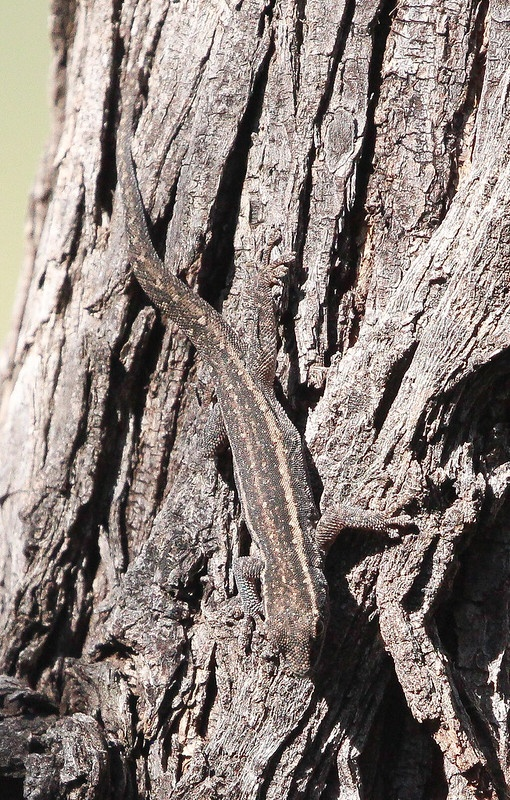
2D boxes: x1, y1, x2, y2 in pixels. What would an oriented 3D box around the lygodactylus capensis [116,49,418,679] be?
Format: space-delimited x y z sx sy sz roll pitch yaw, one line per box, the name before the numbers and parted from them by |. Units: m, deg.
lygodactylus capensis | 0.029 0.246 6.327 0.787 3.845 0.330 -11 -2 7
